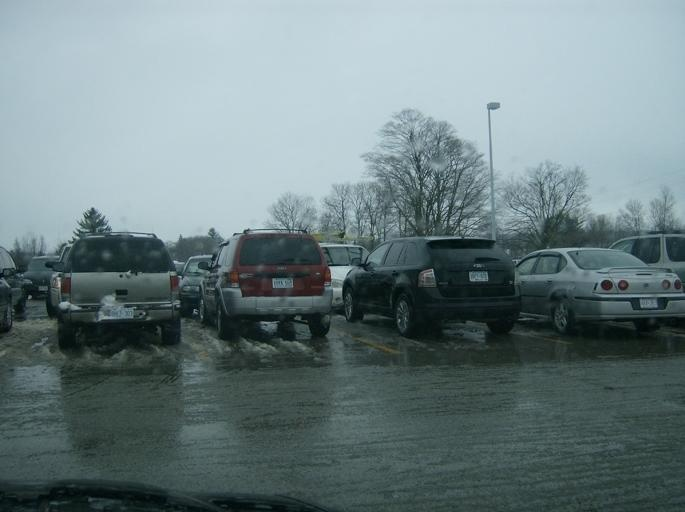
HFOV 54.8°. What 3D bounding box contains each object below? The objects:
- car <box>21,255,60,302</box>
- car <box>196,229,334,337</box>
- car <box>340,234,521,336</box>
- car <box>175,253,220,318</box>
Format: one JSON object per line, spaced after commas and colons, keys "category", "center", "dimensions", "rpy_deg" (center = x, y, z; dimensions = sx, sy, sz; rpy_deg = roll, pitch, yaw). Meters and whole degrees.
{"category": "car", "center": [-9.202, 0.706, 20.082], "dimensions": [1.469, 1.418, 3.194], "rpy_deg": [0, -3, -19]}
{"category": "car", "center": [-1.191, 0.372, 11.038], "dimensions": [1.378, 1.361, 2.931], "rpy_deg": [0, 0, -17]}
{"category": "car", "center": [1.409, 0.479, 12.139], "dimensions": [1.379, 1.102, 3.011], "rpy_deg": [2, 1, -20]}
{"category": "car", "center": [-3.762, 0.719, 17.130], "dimensions": [0.962, 1.126, 2.298], "rpy_deg": [0, -2, -8]}
